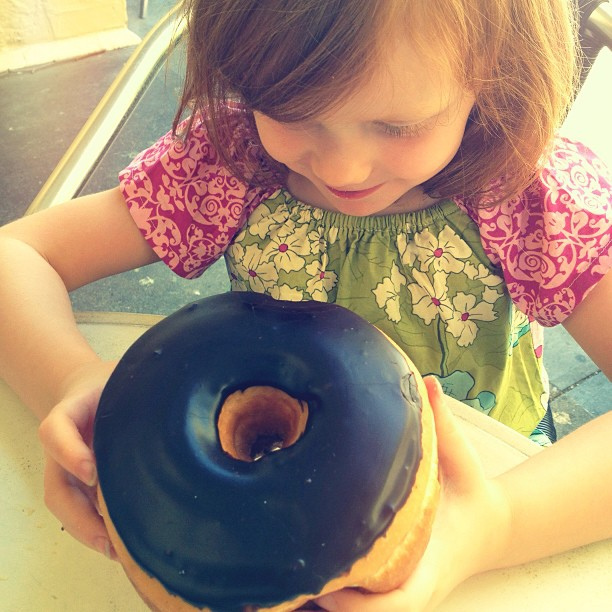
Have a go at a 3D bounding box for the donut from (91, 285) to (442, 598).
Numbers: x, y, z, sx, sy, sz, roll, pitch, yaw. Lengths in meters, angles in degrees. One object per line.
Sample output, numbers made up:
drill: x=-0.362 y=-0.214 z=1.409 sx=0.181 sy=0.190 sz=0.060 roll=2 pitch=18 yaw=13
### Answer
donut: x=-0.044 y=0.142 z=0.711 sx=0.375 sy=0.158 sz=0.384 roll=-11 pitch=58 yaw=-19
